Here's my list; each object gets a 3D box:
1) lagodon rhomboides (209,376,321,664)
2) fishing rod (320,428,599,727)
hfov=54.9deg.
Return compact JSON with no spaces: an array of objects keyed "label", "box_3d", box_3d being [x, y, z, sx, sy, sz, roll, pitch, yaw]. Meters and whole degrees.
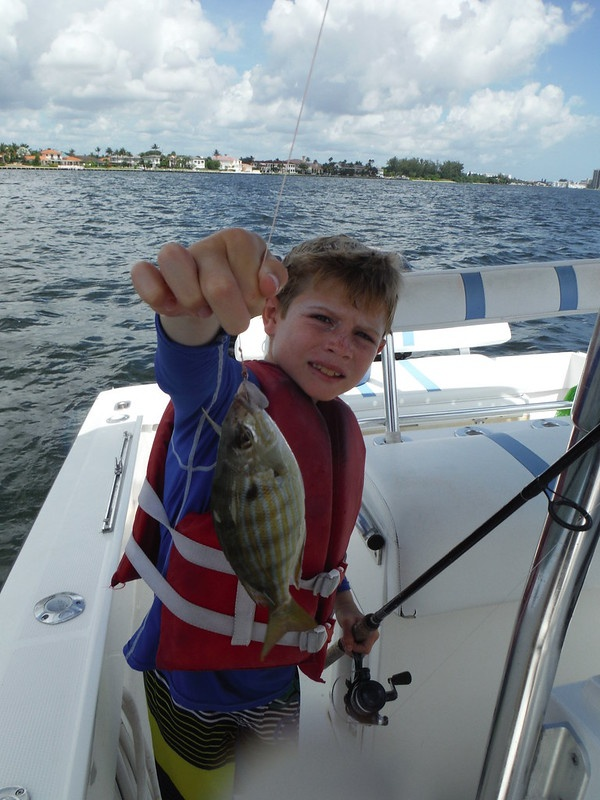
[{"label":"lagodon rhomboides","box_3d":[-0.058,0.223,1.063,0.167,0.496,0.148,17,24,36]},{"label":"fishing rod","box_3d":[0.402,0.502,1.527,0.138,1.289,0.221,31,34,-12]}]
